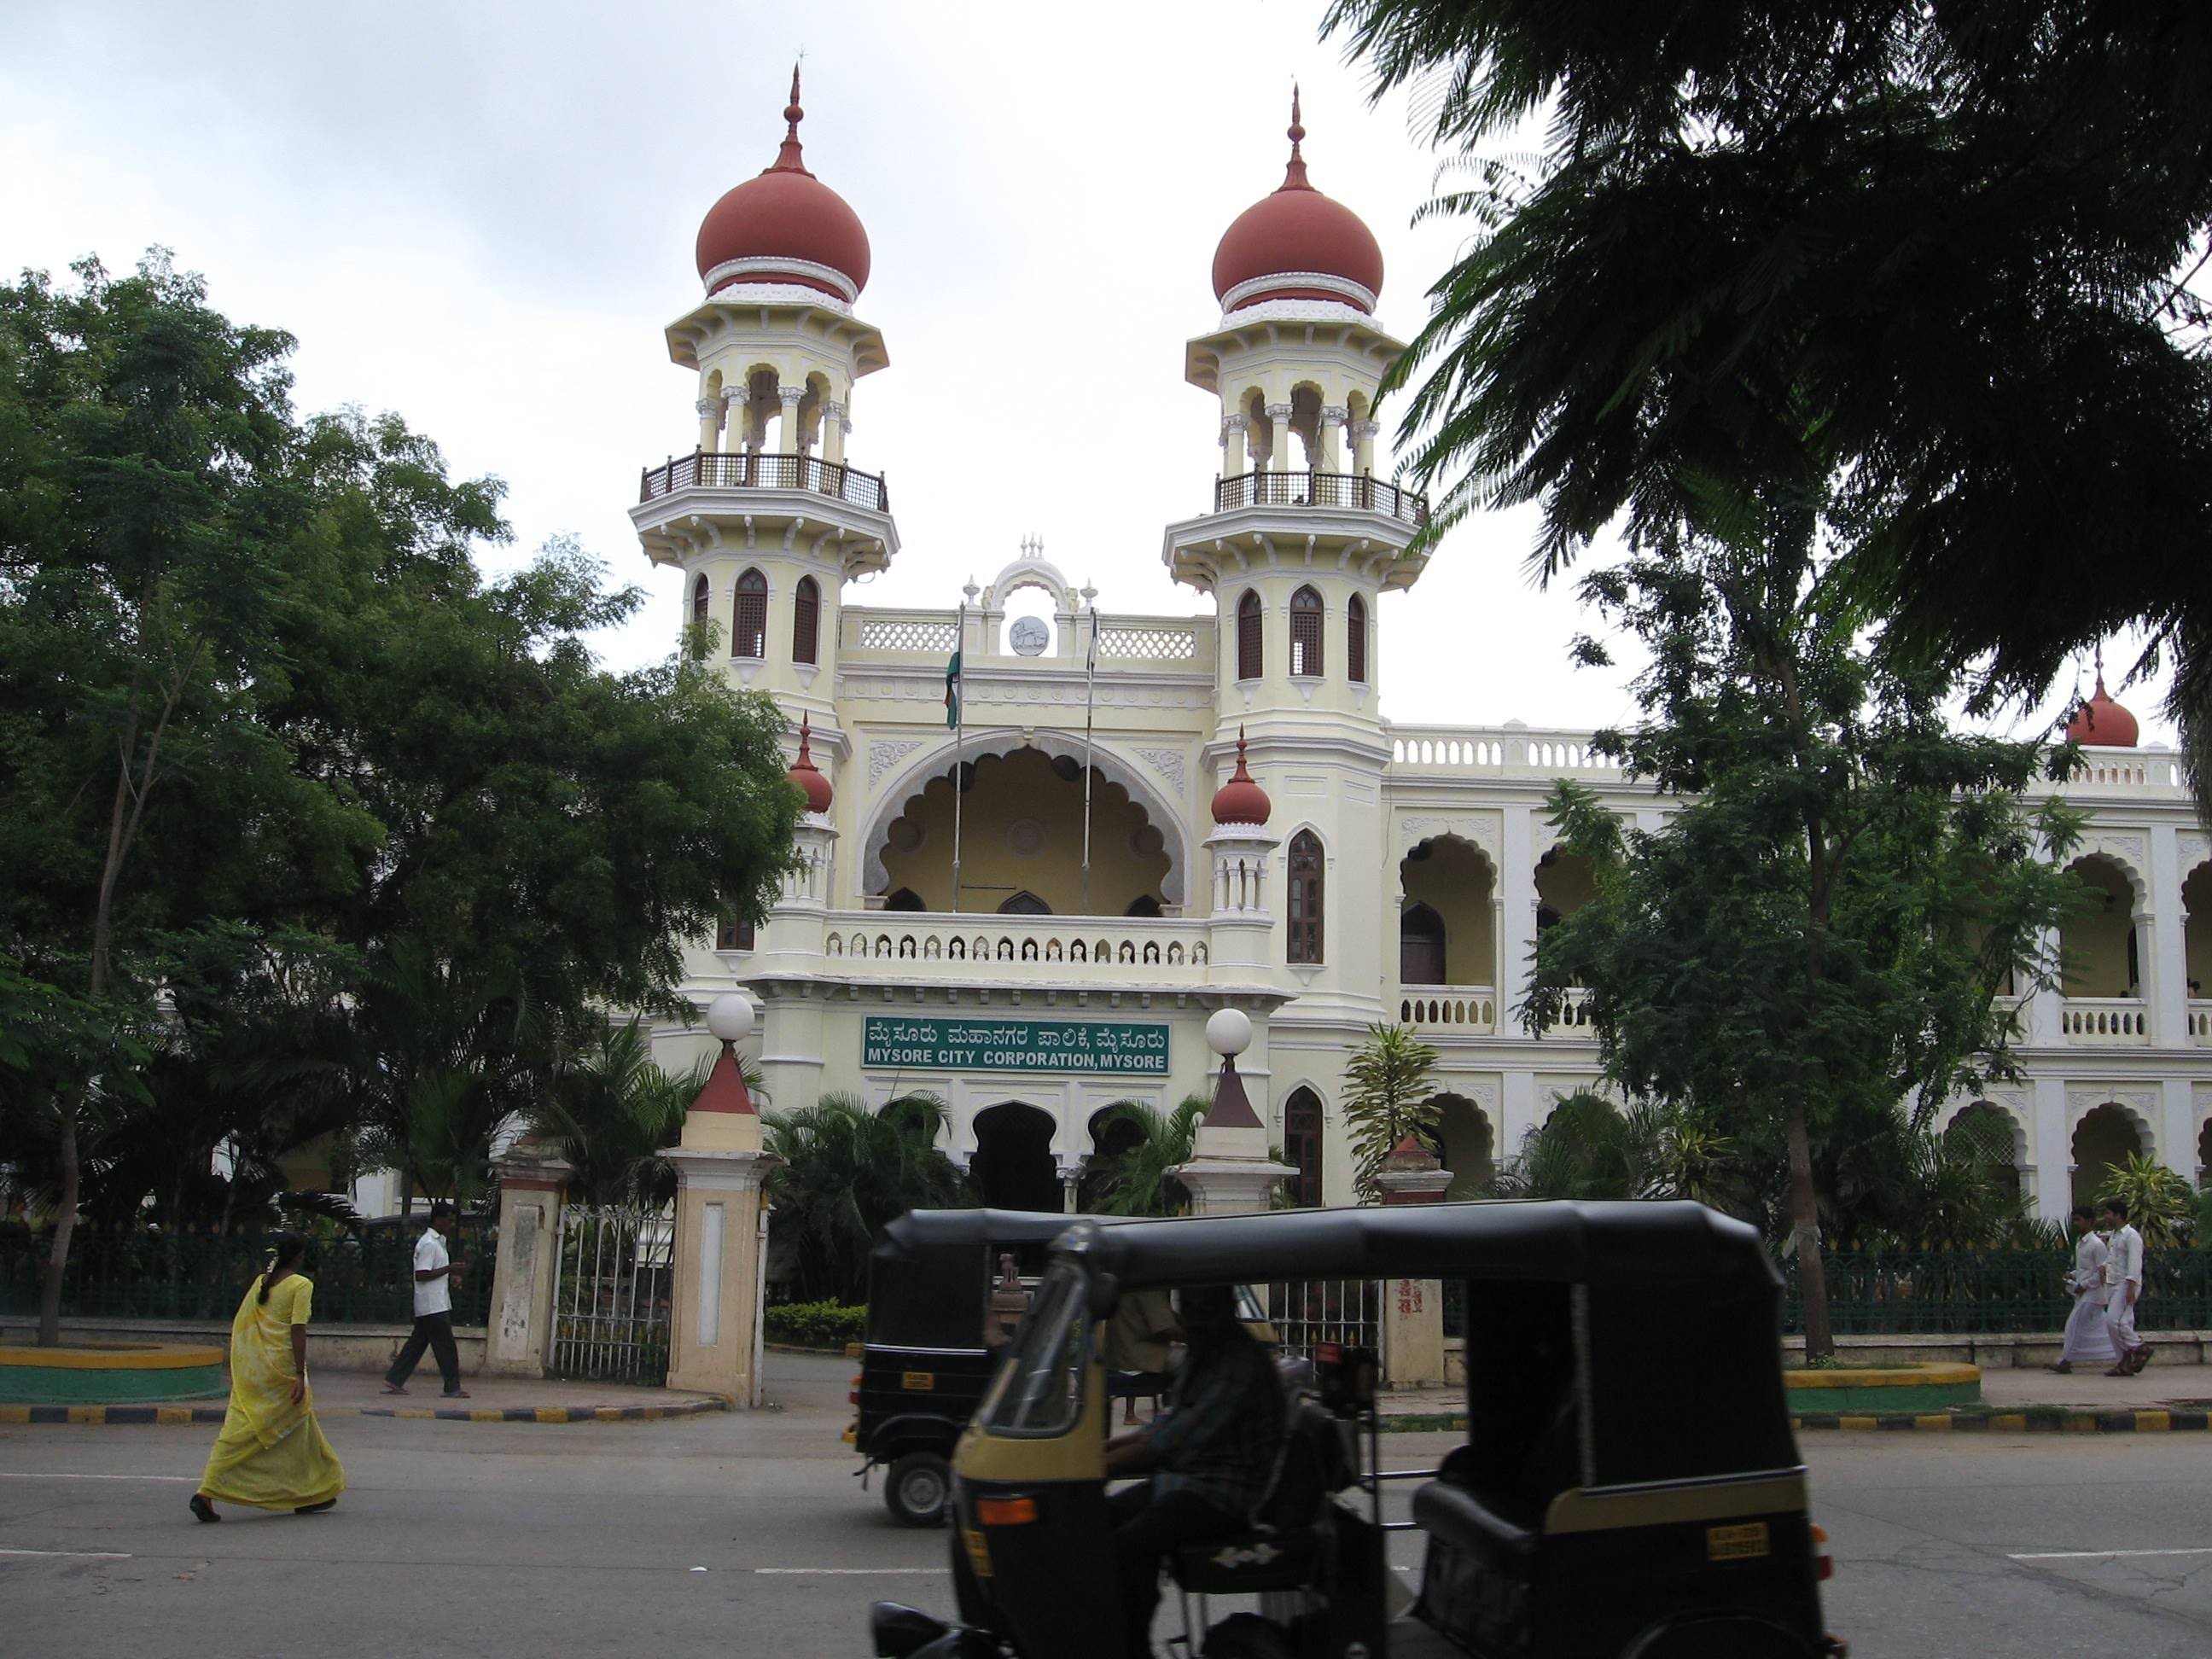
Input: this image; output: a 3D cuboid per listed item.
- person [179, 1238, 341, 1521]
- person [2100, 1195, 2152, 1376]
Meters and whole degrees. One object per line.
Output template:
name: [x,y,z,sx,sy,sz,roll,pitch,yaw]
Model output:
person: [-5.309,3.498,19.974,0.708,1.820,0.797,-3,-12,22]
person: [9.778,4.472,30.118,0.309,1.554,1.301,-2,-12,17]
